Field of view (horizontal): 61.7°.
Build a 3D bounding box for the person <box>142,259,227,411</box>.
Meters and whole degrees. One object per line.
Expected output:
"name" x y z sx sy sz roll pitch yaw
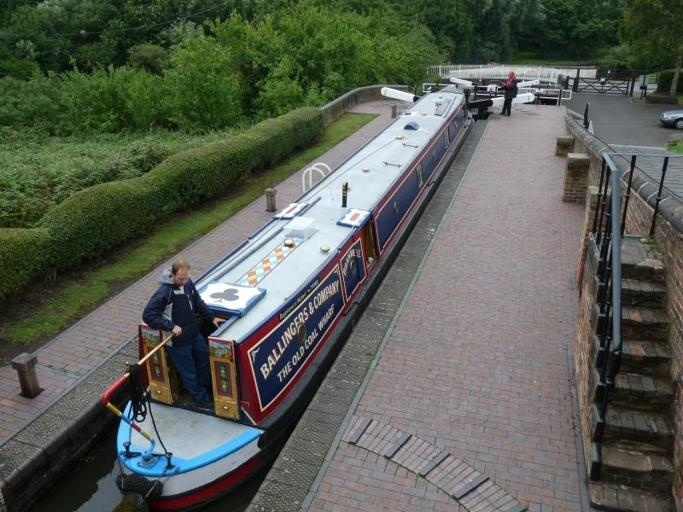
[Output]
"person" -2.717 1.316 9.875 1.043 2.603 0.881 2 24 6
